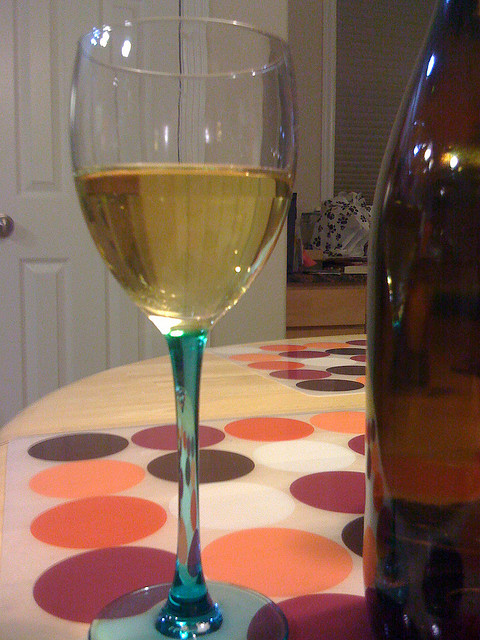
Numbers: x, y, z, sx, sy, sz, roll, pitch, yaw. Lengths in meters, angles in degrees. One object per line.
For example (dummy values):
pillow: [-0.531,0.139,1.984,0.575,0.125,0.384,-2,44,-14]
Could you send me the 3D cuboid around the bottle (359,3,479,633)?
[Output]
bottle: [0.058,0.000,0.187,0.043,0.201,0.036,2,4,39]
